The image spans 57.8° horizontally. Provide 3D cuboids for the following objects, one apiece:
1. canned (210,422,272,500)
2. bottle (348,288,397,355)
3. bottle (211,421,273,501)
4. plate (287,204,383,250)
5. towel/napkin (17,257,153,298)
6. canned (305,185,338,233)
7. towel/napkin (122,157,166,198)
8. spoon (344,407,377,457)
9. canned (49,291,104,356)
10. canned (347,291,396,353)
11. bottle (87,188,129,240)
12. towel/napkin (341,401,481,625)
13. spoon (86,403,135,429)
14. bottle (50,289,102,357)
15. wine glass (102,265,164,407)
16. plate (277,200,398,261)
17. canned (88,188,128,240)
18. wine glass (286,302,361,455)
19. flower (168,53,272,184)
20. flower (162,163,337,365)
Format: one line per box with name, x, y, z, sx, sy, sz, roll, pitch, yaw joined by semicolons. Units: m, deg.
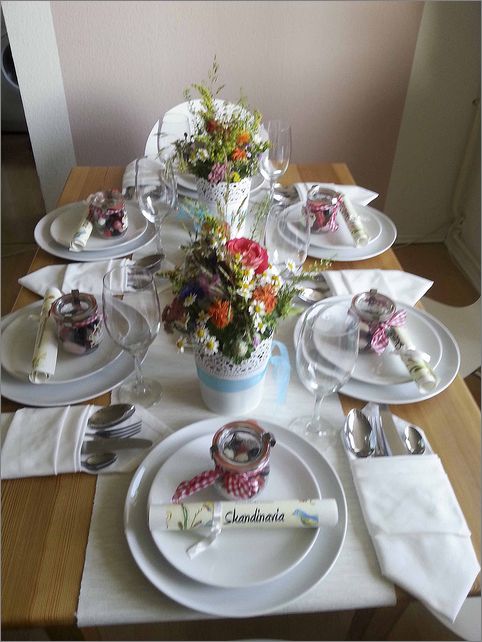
canned;-0.001;0.165;0.511;0.054;0.086;0.076;-6;41;-13
bottle;0.218;0.005;0.718;0.040;0.083;0.070;-1;48;1
bottle;-0.001;0.166;0.508;0.052;0.085;0.068;21;40;16
plate;0.250;-0.227;1.097;0.162;0.023;0.200;12;45;9
towel/napkin;-0.366;-0.093;0.922;0.123;0.024;0.157;8;36;11
canned;0.206;-0.284;1.103;0.081;0.118;0.100;0;35;7
towel/napkin;-0.205;-0.333;0.935;0.090;0.025;0.113;-14;82;-53
spoon;0.168;0.149;0.610;0.023;0.010;0.069;2;37;-1
canned;-0.277;0.003;0.742;0.061;0.112;0.063;-21;43;-32
canned;0.230;0.008;0.773;0.048;0.102;0.076;-1;38;-1
bottle;-0.318;-0.263;1.068;0.071;0.098;0.083;-23;45;-31
towel/napkin;0.201;0.218;0.518;0.114;0.088;0.250;4;50;-3
spoon;-0.184;0.136;0.615;0.038;0.012;0.032;-25;46;-28
bottle;-0.278;0.002;0.743;0.057;0.112;0.068;9;36;5
wine glass;-0.161;0.021;0.664;0.074;0.231;0.081;-13;34;-25
plate;0.261;-0.190;1.074;0.195;0.037;0.254;-1;45;2
canned;-0.323;-0.265;1.064;0.075;0.098;0.087;12;44;-4
wine glass;0.115;0.072;0.610;0.065;0.206;0.075;6;27;4
flower;-0.038;-0.445;1.015;0.159;0.238;0.200;17;35;12
flower;0.008;-0.038;0.562;0.121;0.126;0.130;-2;69;22
